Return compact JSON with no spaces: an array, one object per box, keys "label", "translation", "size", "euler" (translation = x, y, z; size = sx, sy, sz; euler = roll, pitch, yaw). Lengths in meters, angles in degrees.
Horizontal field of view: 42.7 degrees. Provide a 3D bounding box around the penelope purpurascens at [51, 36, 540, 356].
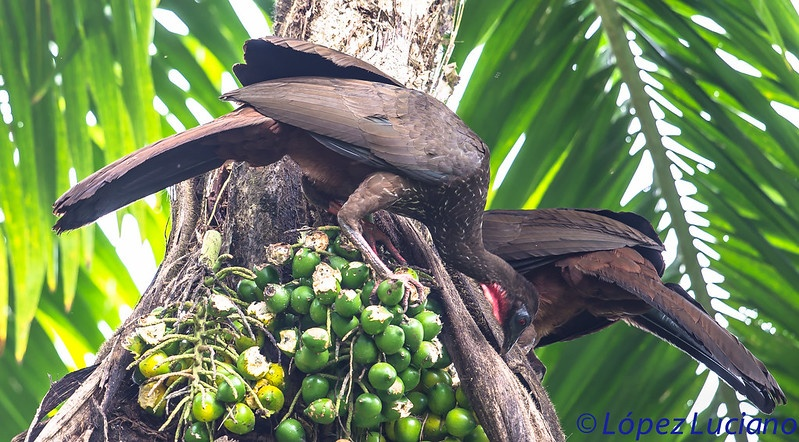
[{"label":"penelope purpurascens","translation":[-0.525,-0.345,6.814],"size":[3.354,1.538,0.968],"euler":[18,-4,2]}]
